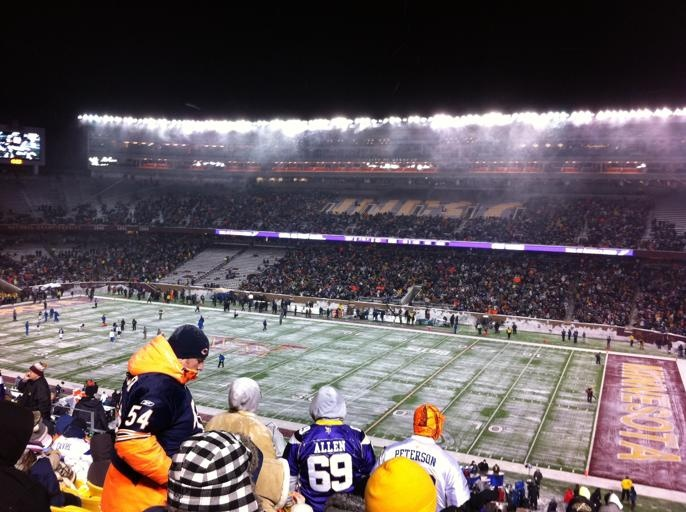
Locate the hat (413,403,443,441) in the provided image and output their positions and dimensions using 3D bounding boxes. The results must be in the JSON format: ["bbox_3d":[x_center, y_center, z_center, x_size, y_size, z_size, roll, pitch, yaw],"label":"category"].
[{"bbox_3d":[1.225,2.341,7.514,0.443,0.521,0.584,3,-4,17],"label":"hat"}]

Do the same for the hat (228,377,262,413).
[{"bbox_3d":[-1.375,1.851,7.287,0.373,0.507,0.519,8,10,20],"label":"hat"}]

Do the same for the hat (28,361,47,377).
[{"bbox_3d":[-7.901,2.952,13.756,0.327,0.403,0.463,2,2,-26],"label":"hat"}]

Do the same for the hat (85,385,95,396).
[{"bbox_3d":[-7.351,3.912,15.503,0.306,0.388,0.486,2,2,-26],"label":"hat"}]
